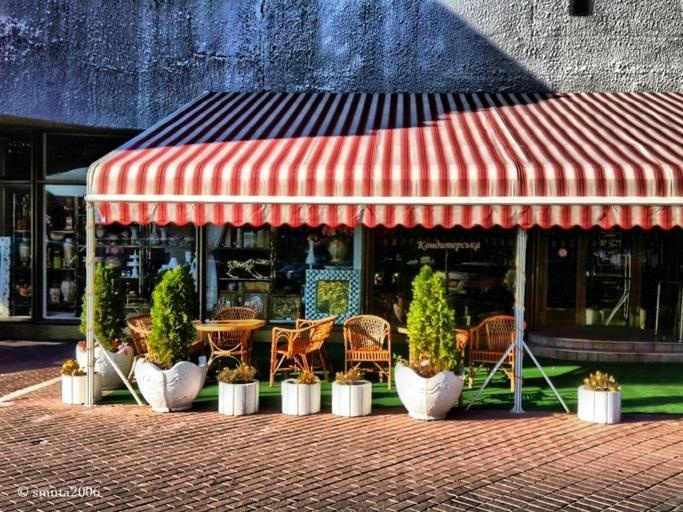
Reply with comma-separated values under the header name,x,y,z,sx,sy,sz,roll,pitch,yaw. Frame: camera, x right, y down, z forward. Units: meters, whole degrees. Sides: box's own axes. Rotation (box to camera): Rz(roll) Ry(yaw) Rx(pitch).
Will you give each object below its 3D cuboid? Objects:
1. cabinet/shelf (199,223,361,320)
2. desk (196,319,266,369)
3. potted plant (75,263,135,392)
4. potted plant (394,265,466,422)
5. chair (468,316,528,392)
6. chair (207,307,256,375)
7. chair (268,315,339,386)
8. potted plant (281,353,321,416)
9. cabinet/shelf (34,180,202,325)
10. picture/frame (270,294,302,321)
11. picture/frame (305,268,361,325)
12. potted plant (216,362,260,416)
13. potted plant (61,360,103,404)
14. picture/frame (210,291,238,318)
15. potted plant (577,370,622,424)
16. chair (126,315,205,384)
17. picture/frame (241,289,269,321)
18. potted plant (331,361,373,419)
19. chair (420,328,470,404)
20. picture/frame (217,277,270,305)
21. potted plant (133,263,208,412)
name,x,y,z,sx,sy,sz,roll,pitch,yaw
cabinet/shelf,-1.398,1.155,20.577,3.813,2.666,2.104,0,-1,0
desk,-2.249,1.742,16.661,1.419,0.899,1.413,2,2,33
potted plant,-4.442,1.330,15.734,0.979,2.416,0.843,-3,11,-15
potted plant,1.527,1.502,14.571,1.157,2.530,0.886,1,11,6
chair,3.030,1.842,16.440,1.016,1.353,1.044,-1,-2,42
chair,-2.277,1.615,16.741,0.824,1.153,0.885,0,11,-10
chair,-0.934,1.864,16.361,1.317,1.476,1.313,-2,-5,29
potted plant,-0.766,2.425,14.949,0.624,0.717,0.724,1,-3,-15
cabinet/shelf,-4.636,-0.117,17.562,3.142,2.824,1.115,0,5,-1
picture/frame,-1.310,1.172,19.560,0.584,0.528,0.079,1,-8,-1
picture/frame,-0.246,0.877,19.304,1.236,1.296,0.095,1,-2,-2
potted plant,-1.850,2.356,14.892,0.685,0.805,0.727,1,1,43
potted plant,-4.657,2.282,15.256,0.787,0.820,0.584,1,0,-29
picture/frame,-2.779,1.101,19.647,0.582,0.607,0.136,5,0,4
potted plant,4.595,2.416,14.636,0.784,0.904,0.815,-1,-3,44
chair,-3.502,1.796,16.210,1.392,1.471,1.317,-4,-2,23
picture/frame,-1.966,1.103,19.115,0.692,0.829,0.085,1,-8,-1
potted plant,0.159,2.407,14.883,0.677,0.778,0.688,-3,-4,43
chair,1.709,1.991,16.017,1.188,1.518,1.072,0,-2,10
picture/frame,-2.290,0.808,19.644,1.052,0.798,0.594,-1,0,2
potted plant,-3.030,1.469,14.868,1.180,2.424,1.026,-1,11,-4
